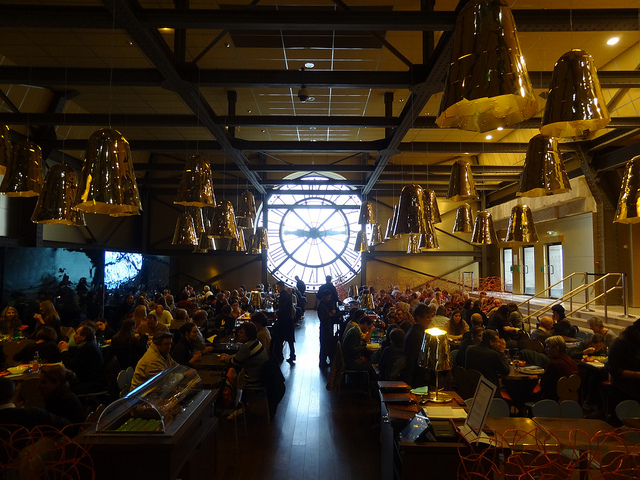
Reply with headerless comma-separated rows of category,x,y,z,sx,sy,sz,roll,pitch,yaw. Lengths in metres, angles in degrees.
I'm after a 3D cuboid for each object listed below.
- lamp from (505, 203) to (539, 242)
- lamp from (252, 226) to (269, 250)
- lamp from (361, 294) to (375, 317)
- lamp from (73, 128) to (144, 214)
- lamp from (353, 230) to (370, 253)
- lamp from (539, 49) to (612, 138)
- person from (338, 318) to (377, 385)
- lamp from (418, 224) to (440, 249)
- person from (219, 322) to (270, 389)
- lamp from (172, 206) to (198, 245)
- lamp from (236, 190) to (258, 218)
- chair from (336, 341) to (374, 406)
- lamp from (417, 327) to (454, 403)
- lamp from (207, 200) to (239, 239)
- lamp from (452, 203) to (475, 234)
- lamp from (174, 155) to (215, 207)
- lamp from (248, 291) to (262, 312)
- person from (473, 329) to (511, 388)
lamp,2.512,-0.196,6.457,0.430,0.499,0.413,8,-9,-35
lamp,-1.453,-0.052,12.539,0.449,0.614,0.459,3,-10,-8
lamp,1.115,1.505,12.519,0.310,0.546,0.322,0,-16,-2
lamp,-1.866,-0.640,4.510,0.498,0.707,0.497,1,-1,-26
lamp,0.967,0.051,12.184,0.456,0.627,0.472,3,-12,0
lamp,2.187,-1.253,4.407,0.508,0.729,0.525,3,-9,-6
person,0.711,2.055,9.530,0.668,1.126,0.902,1,4,5
lamp,1.336,-0.004,6.327,0.318,0.377,0.350,2,6,7
person,-1.157,1.802,7.964,0.732,1.009,0.403,-1,5,-16
lamp,-1.990,-0.198,7.573,0.316,0.583,0.666,-1,5,-15
lamp,-1.149,-0.546,8.335,0.376,0.519,0.385,1,-12,1
chair,0.660,2.559,9.541,0.865,1.486,0.792,0,-12,4
lamp,1.354,1.416,5.983,0.378,0.910,0.907,1,5,14
lamp,-1.285,-0.269,6.809,0.465,0.544,0.448,9,-16,-37
lamp,2.208,-0.292,7.915,0.385,0.557,0.402,-1,-25,21
lamp,-1.353,-0.676,5.634,0.438,0.615,0.437,3,-7,-7
lamp,-1.575,1.434,12.291,0.351,0.524,0.344,5,8,38
person,2.536,1.816,7.618,0.504,0.903,1.086,2,5,21
